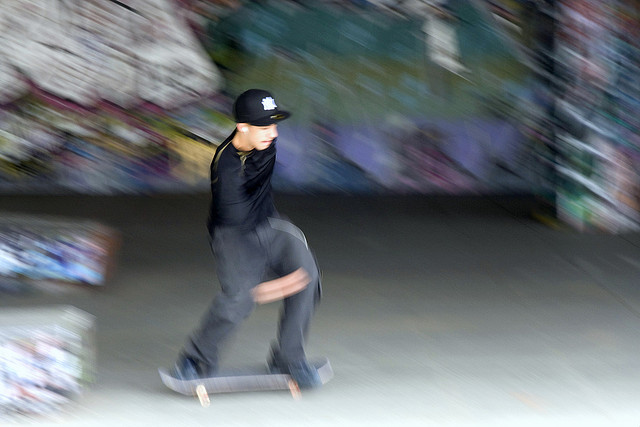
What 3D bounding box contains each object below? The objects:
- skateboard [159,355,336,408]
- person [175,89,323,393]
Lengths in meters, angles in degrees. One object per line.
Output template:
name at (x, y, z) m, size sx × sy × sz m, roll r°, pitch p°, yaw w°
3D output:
skateboard at (-0.596, 1.363, 6.992) m, size 1.415 × 0.203 × 0.439 m, roll -2°, pitch 27°, yaw -9°
person at (-0.482, 0.211, 6.914) m, size 1.067 × 2.226 × 1.104 m, roll 5°, pitch 29°, yaw -1°
